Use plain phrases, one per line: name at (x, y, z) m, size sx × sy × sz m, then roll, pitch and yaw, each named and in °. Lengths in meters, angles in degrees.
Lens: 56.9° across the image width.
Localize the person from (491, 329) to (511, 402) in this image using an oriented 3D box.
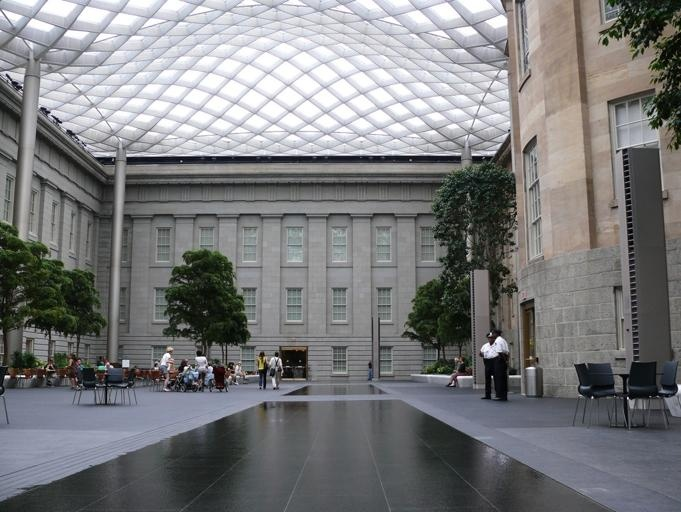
person at (4.741, 3.268, 18.811) m, size 0.459 × 2.074 × 1.279 m, roll -4°, pitch -12°, yaw 13°

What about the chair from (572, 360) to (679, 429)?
chair at (5.881, 2.835, 13.027) m, size 1.894 × 1.233 × 3.412 m, roll -5°, pitch -12°, yaw 19°

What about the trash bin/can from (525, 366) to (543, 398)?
trash bin/can at (6.274, 4.140, 20.593) m, size 0.543 × 0.949 × 0.486 m, roll -4°, pitch -12°, yaw 14°

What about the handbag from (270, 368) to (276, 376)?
handbag at (-3.056, 5.260, 28.272) m, size 0.247 × 0.322 × 0.342 m, roll 2°, pitch -1°, yaw -2°
